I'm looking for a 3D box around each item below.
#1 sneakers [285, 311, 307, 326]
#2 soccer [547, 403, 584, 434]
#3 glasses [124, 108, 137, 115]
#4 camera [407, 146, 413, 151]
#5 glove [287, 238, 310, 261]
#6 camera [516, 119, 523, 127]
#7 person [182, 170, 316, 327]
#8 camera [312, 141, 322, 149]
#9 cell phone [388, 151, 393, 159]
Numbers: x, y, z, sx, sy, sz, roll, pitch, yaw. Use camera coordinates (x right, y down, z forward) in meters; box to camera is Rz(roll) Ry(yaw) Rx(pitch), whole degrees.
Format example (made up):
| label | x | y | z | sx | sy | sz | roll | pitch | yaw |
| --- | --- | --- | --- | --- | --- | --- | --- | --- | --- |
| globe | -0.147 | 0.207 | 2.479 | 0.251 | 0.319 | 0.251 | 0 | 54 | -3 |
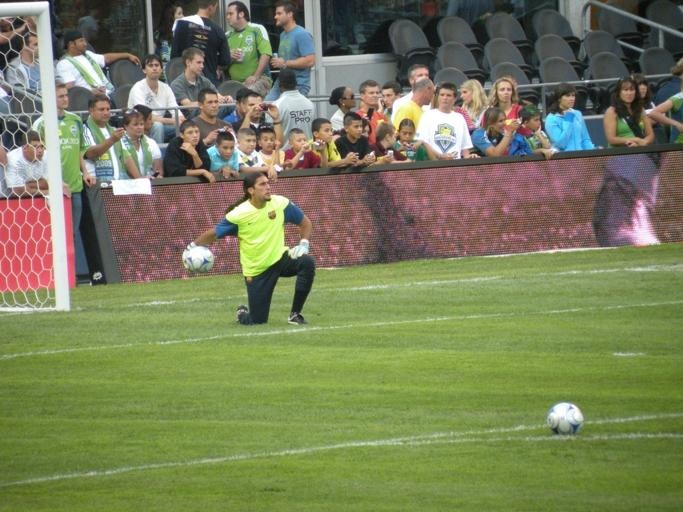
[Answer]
| label | x | y | z | sx | sy | sz | roll | pitch | yaw |
| --- | --- | --- | --- | --- | --- | --- | --- | --- | --- |
| sneakers | -0.542 | 0.755 | 19.635 | 0.228 | 0.156 | 0.245 | 0 | 5 | -1 |
| soccer | 2.248 | 1.631 | 16.266 | 0.359 | 0.309 | 0.222 | 0 | 5 | 5 |
| glasses | -2.942 | -1.995 | 22.426 | 0.123 | 0.049 | 0.138 | 2 | -3 | -27 |
| camera | 0.981 | -1.566 | 23.558 | 0.068 | 0.053 | 0.015 | -3 | 11 | -7 |
| glove | -0.530 | -0.083 | 19.675 | 0.237 | 0.208 | 0.335 | 0 | 5 | 5 |
| camera | 2.550 | -1.936 | 23.377 | 0.095 | 0.037 | 0.113 | -1 | 39 | -6 |
| person | -0.982 | -0.081 | 19.657 | 1.260 | 1.833 | 0.623 | 0 | 6 | -2 |
| camera | -0.353 | -1.552 | 22.865 | 0.089 | 0.097 | 0.161 | -1 | 2 | 42 |
| cell phone | 0.694 | -1.439 | 23.191 | 0.075 | 0.067 | 0.125 | -2 | 5 | 4 |
